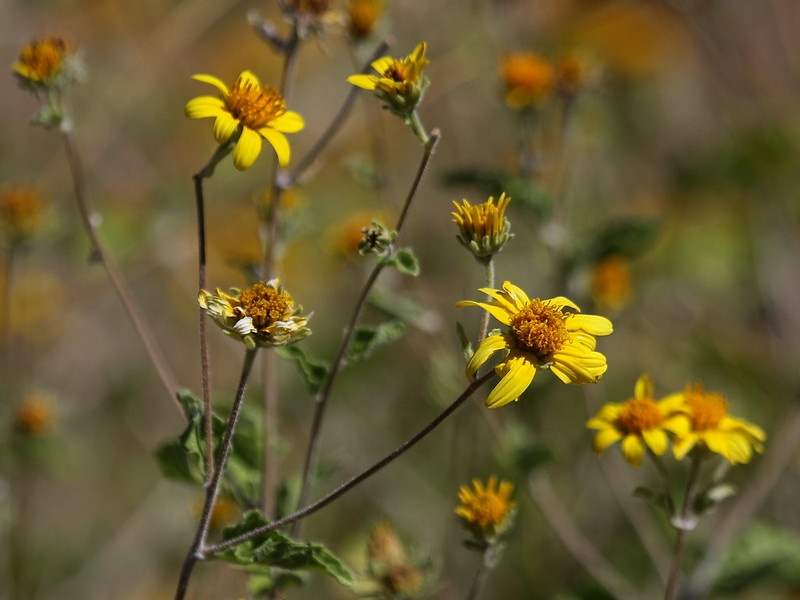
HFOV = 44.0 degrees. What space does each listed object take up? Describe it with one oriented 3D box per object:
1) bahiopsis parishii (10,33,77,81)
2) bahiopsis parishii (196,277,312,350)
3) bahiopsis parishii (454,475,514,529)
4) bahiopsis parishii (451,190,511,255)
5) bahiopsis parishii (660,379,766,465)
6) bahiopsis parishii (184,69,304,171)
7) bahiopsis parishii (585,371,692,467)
[{"bbox_3d":[-0.875,-0.589,2.488,0.103,0.085,0.109,-27,33,-33],"label":"bahiopsis parishii"},{"bbox_3d":[-0.336,-0.029,2.328,0.181,0.116,0.182,-13,35,-44],"label":"bahiopsis parishii"},{"bbox_3d":[0.214,0.505,2.529,0.155,0.083,0.162,-13,23,2],"label":"bahiopsis parishii"},{"bbox_3d":[0.203,-0.173,2.453,0.117,0.172,0.132,-9,7,15],"label":"bahiopsis parishii"},{"bbox_3d":[0.807,0.309,2.635,0.288,0.157,0.327,12,15,32],"label":"bahiopsis parishii"},{"bbox_3d":[-0.400,-0.505,2.512,0.301,0.157,0.327,28,16,-23],"label":"bahiopsis parishii"},{"bbox_3d":[0.650,0.350,2.674,0.278,0.146,0.364,-11,6,25],"label":"bahiopsis parishii"}]
